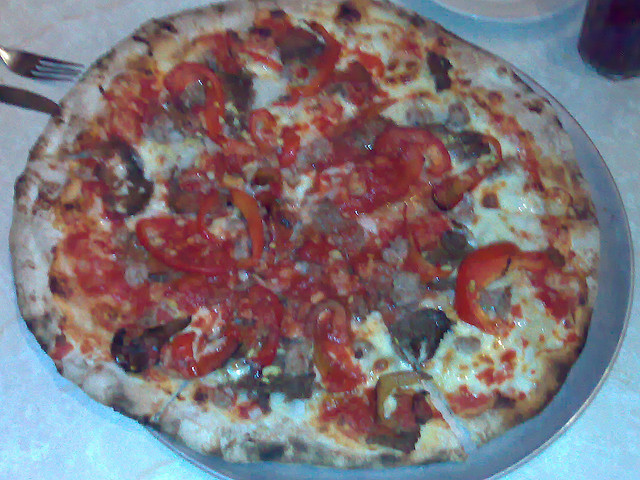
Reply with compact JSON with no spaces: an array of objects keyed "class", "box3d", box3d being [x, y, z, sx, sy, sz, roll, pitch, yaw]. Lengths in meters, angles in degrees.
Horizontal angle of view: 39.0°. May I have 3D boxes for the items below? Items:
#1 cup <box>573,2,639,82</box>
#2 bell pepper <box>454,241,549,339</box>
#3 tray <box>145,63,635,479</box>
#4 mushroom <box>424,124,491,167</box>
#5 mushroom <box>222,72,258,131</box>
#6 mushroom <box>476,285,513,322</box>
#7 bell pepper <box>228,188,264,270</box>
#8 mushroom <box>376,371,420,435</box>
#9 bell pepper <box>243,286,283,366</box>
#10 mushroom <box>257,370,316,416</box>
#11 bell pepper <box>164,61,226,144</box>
[{"class":"cup","box3d":[0.523,-0.365,1.647,0.111,0.185,0.133,3,78,18]},{"class":"bell pepper","box3d":[0.296,0.065,1.589,0.114,0.050,0.184,20,91,-2]},{"class":"tray","box3d":[0.248,0.231,1.579,0.396,0.079,0.881,44,88,7]},{"class":"mushroom","box3d":[0.249,-0.174,1.629,0.108,0.026,0.071,34,79,-1]},{"class":"mushroom","box3d":[-0.144,-0.248,1.616,0.058,0.020,0.097,6,91,-15]},{"class":"mushroom","box3d":[0.307,0.119,1.605,0.092,0.077,0.033,-40,115,-54]},{"class":"bell pepper","box3d":[-0.127,-0.022,1.619,0.048,0.105,0.109,-21,38,-31]},{"class":"mushroom","box3d":[0.131,0.285,1.580,0.068,0.026,0.103,-3,85,-6]},{"class":"bell pepper","box3d":[-0.093,0.131,1.603,0.108,0.111,0.061,27,41,32]},{"class":"mushroom","box3d":[-0.067,0.259,1.648,0.112,0.150,0.040,-18,96,-20]},{"class":"bell pepper","box3d":[-0.210,-0.251,1.604,0.074,0.029,0.146,-29,102,0]}]
